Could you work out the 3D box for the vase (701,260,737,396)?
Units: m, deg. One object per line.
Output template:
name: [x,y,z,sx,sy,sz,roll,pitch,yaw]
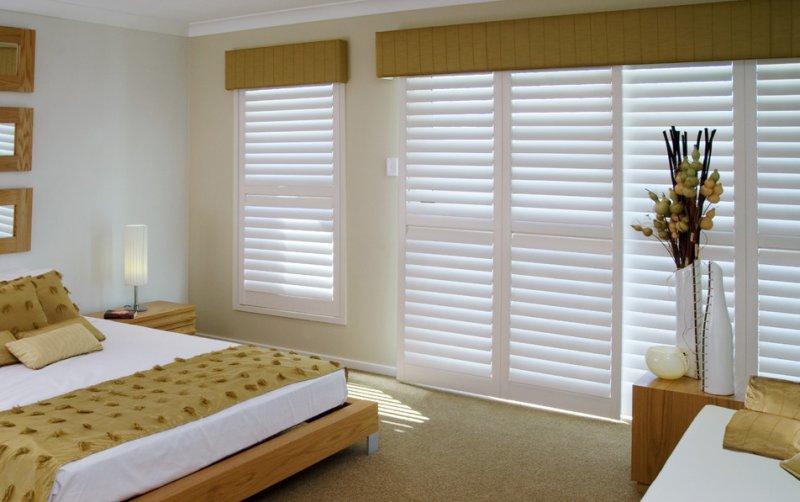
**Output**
vase: [2.048,0.499,3.603,0.232,0.784,0.330,7,17,25]
